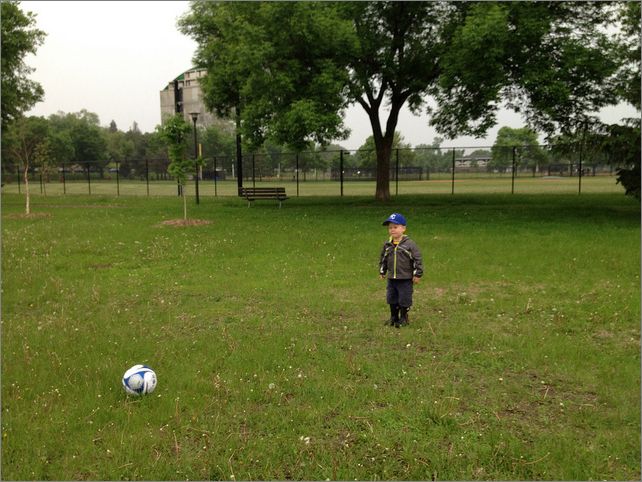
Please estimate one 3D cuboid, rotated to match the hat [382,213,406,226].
[{"bbox_3d":[1.656,-0.463,15.075,0.438,0.257,0.309,1,-2,-39],"label":"hat"}]
